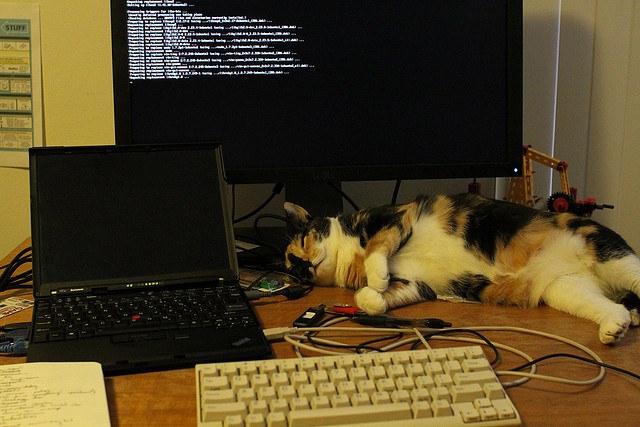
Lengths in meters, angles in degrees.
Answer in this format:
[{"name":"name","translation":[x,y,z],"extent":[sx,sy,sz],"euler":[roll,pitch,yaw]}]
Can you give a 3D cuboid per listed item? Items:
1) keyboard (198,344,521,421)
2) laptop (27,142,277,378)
[{"name":"keyboard","translation":[0.059,0.307,0.952],"extent":[0.540,0.084,0.123],"euler":[-3,10,-5]},{"name":"laptop","translation":[-0.386,0.144,1.227],"extent":[0.502,0.339,0.492],"euler":[-4,26,-13]}]
